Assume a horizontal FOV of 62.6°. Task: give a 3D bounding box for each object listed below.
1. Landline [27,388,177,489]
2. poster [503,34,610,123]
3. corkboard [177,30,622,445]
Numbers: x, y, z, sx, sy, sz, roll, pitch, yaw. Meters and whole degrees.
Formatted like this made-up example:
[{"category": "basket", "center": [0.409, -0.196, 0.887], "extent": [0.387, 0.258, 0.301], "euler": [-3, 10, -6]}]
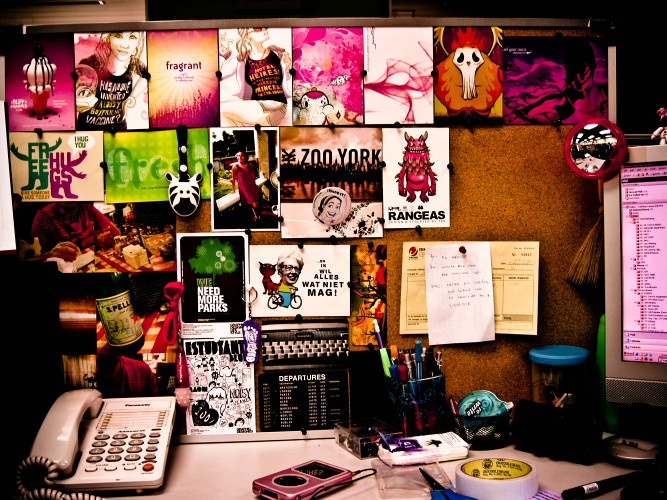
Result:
[{"category": "Landline", "center": [-0.449, 0.374, 1.094], "extent": [0.242, 0.162, 0.162], "euler": [-4, 8, -3]}, {"category": "poster", "center": [0.493, -0.396, 1.237], "extent": [0.192, 0.164, 0.008], "euler": [-1, 1, -2]}, {"category": "corkboard", "center": [0.107, -0.025, 1.211], "extent": [0.804, 0.677, 0.022], "euler": [0, -3, -1]}]
